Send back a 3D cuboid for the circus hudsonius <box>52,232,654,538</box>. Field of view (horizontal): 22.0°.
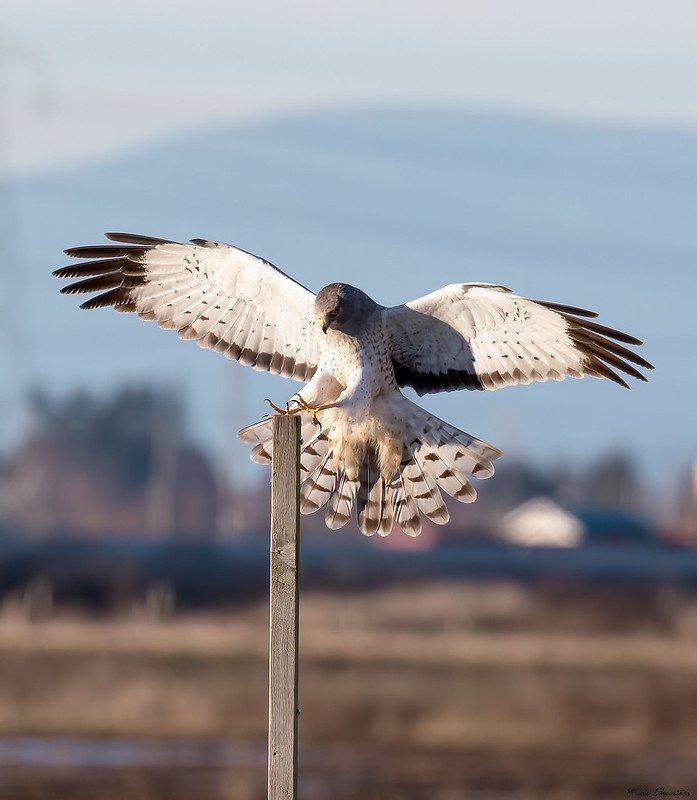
[{"bbox_3d":[0.030,-0.010,9.462,2.730,1.617,0.691,3,17,11],"label":"circus hudsonius"}]
